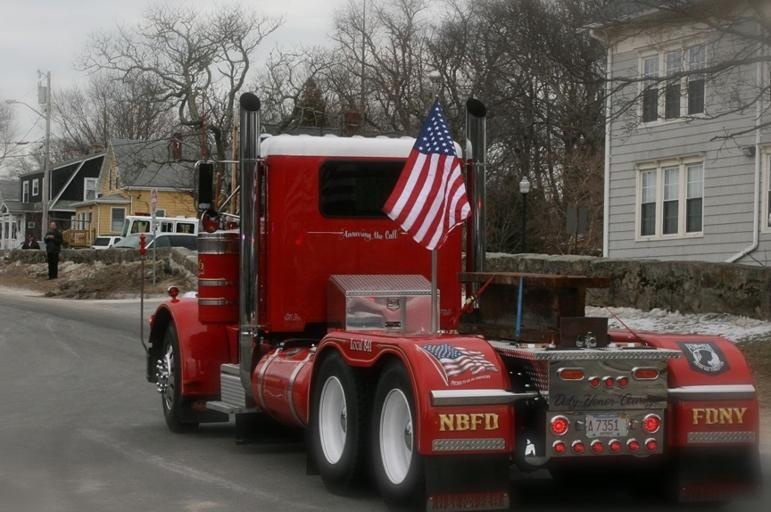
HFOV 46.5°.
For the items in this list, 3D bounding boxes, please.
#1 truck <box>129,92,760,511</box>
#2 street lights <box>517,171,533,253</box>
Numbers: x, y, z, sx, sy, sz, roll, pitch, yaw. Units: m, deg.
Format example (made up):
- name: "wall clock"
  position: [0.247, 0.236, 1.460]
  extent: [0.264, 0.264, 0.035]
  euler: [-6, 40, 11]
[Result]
- name: "truck"
  position: [0.221, 0.608, 10.072]
  extent: [3.461, 3.913, 6.537]
  euler: [2, 2, -33]
- name: "street lights"
  position: [5.689, -1.671, 36.736]
  extent: [0.553, 3.097, 0.582]
  euler: [0, 2, -25]
